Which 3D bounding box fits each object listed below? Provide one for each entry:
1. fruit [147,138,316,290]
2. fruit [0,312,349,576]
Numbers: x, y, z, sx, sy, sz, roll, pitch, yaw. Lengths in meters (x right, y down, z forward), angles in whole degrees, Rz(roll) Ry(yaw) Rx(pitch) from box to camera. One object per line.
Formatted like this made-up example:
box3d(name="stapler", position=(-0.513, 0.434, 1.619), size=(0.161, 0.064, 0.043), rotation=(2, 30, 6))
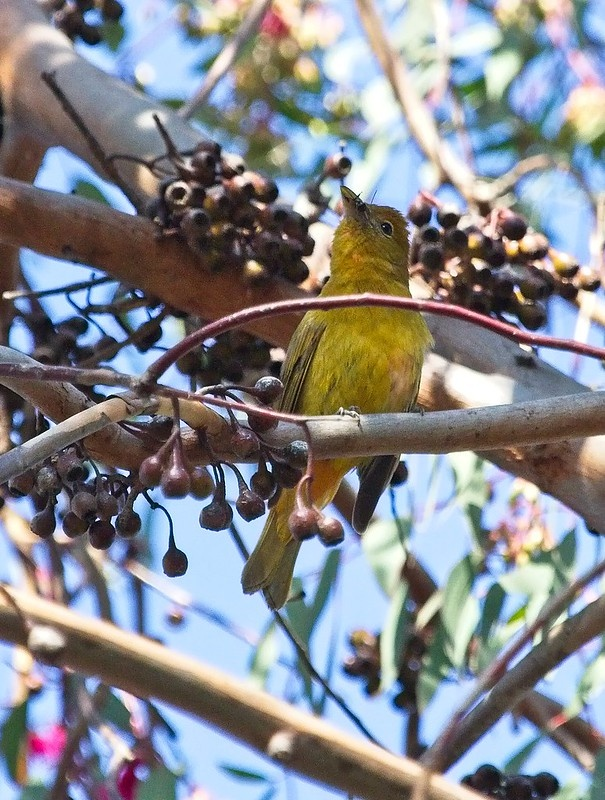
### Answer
box3d(name="fruit", position=(-0.156, -0.482, 3.849), size=(0.312, 0.174, 0.411), rotation=(42, 10, -7))
box3d(name="fruit", position=(-0.273, 0.064, 3.520), size=(1.080, 0.448, 0.189), rotation=(20, -56, -1))
